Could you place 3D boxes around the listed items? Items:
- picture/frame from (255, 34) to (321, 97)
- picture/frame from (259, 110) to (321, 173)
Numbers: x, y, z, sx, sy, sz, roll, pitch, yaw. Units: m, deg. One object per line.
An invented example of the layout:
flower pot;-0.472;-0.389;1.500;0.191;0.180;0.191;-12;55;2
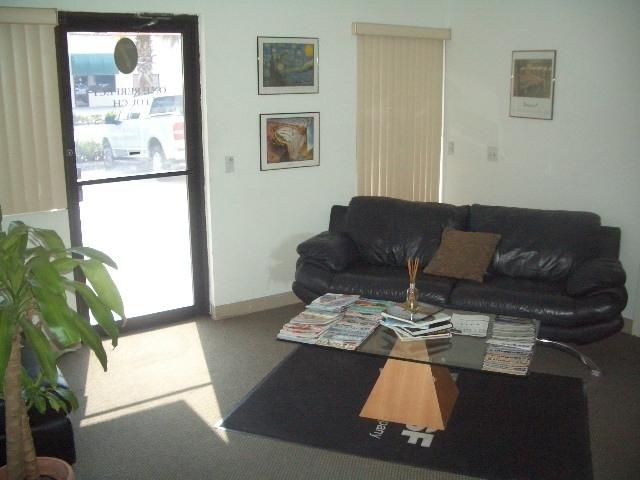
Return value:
picture/frame;-0.328;-1.657;4.760;0.614;0.508;0.013;-4;9;-31
picture/frame;-0.315;-0.971;4.903;0.596;0.496;0.023;-7;11;-34
